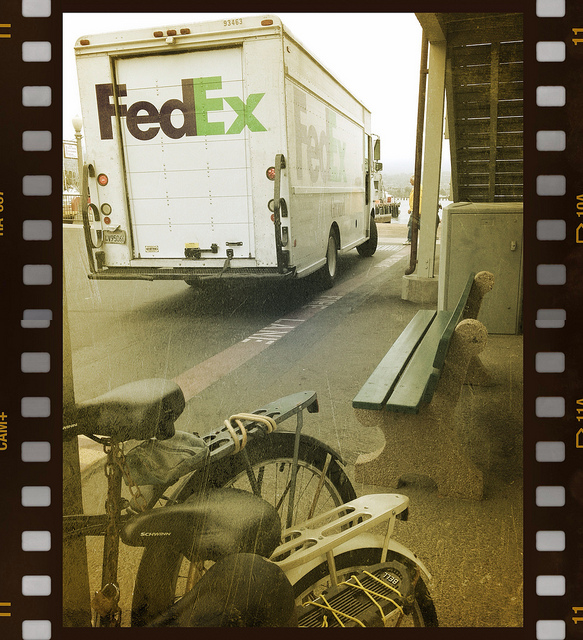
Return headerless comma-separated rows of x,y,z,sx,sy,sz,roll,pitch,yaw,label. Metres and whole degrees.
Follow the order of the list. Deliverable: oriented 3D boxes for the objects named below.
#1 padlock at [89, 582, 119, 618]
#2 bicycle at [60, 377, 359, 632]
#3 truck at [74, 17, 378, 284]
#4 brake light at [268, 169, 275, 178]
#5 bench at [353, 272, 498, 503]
-0.559,0.856,1.867,0.079,0.095,0.074,-11,14,-29,padlock
-0.213,0.486,2.135,1.039,0.778,0.546,-6,-2,-23,bicycle
-0.310,-1.489,6.683,1.797,2.338,4.052,1,8,16,truck
-0.159,-1.174,4.926,0.044,0.066,0.042,-7,12,-13,brake light
0.821,0.217,3.326,0.553,0.789,1.700,1,13,20,bench
